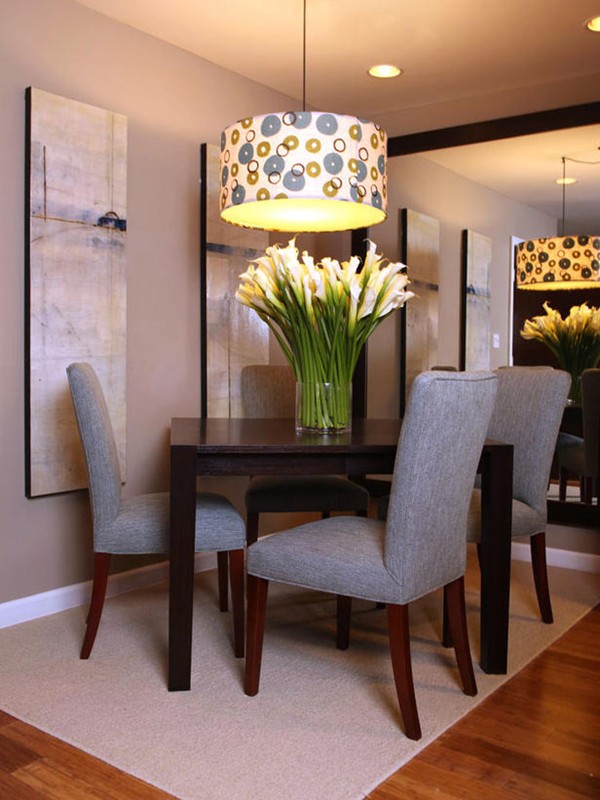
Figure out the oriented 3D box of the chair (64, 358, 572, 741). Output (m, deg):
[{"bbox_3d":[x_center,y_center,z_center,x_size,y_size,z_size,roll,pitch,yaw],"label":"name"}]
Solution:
[{"bbox_3d":[-0.020,0.308,1.710,0.841,0.791,1.102,1,-2,-45],"label":"chair"}]
